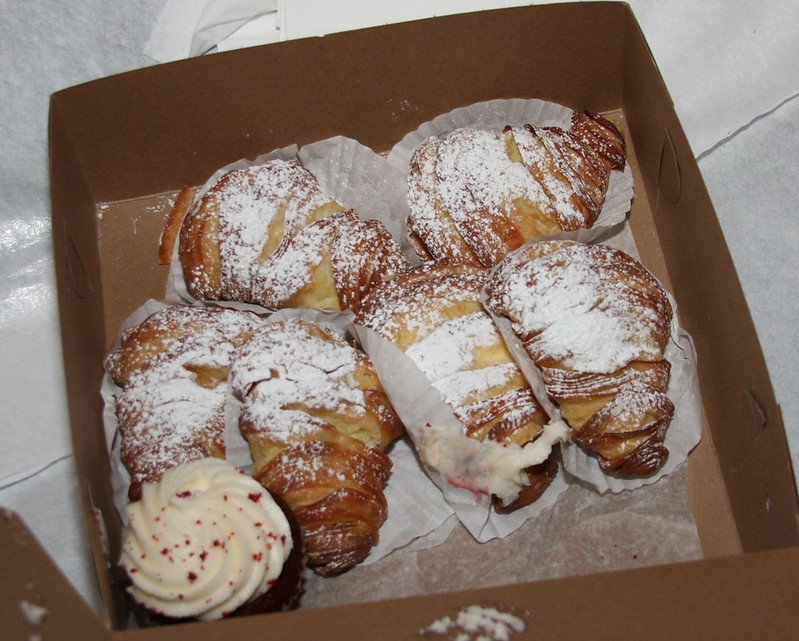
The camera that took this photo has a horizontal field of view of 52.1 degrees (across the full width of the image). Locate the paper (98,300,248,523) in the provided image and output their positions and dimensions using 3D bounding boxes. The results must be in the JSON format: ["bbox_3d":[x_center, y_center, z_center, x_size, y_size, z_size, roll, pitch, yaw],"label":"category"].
[{"bbox_3d":[-0.560,0.205,1.938,0.354,0.143,0.501,-4,74,-1],"label":"paper"}]

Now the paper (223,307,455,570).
[{"bbox_3d":[-0.158,0.302,2.035,0.393,0.170,0.573,-18,41,4],"label":"paper"}]

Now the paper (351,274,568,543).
[{"bbox_3d":[0.148,0.154,2.032,0.422,0.215,0.691,-25,86,3],"label":"paper"}]
